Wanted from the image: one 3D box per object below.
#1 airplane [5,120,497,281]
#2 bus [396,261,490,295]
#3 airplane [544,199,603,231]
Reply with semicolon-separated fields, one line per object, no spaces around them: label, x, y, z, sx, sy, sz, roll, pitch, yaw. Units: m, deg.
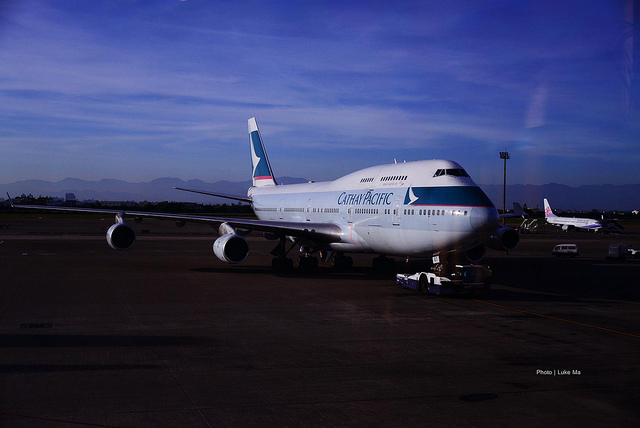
airplane;-3.889;-1.951;30.832;19.947;8.526;22.878;-1;0;-5
bus;5.042;2.737;21.452;1.874;0.764;2.827;1;-2;-31
airplane;45.036;0.654;91.565;3.481;4.494;12.509;-2;0;-10
